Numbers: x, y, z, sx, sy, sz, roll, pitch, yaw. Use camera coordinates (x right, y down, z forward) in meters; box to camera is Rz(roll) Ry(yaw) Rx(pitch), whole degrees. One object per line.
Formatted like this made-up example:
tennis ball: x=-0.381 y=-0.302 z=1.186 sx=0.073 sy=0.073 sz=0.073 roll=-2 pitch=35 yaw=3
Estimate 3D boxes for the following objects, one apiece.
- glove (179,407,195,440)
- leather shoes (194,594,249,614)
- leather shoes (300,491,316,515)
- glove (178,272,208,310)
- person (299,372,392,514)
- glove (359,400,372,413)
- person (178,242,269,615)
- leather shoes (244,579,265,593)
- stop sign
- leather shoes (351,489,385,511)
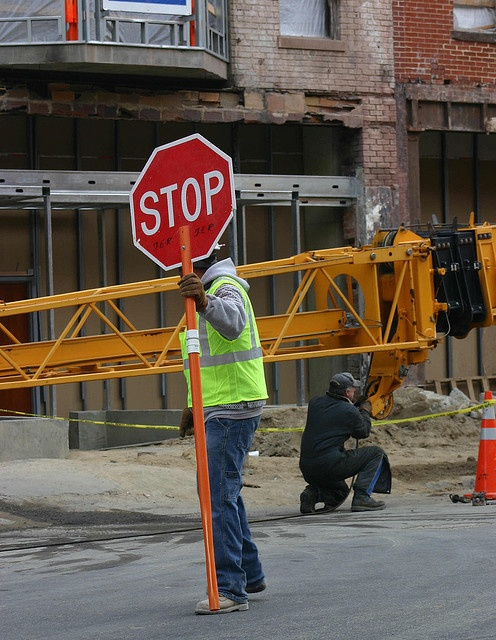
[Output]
glove: x=-0.411 y=0.735 z=10.501 sx=0.083 sy=0.285 sz=0.076 roll=2 pitch=12 yaw=-40
leather shoes: x=-0.151 y=1.814 z=9.831 sx=0.301 sy=0.145 sz=0.122 roll=7 pitch=-14 yaw=-16
leather shoes: x=0.536 y=1.598 z=13.629 sx=0.084 sy=0.240 sz=0.105 roll=-8 pitch=-13 yaw=41
glove: x=-0.329 y=-0.182 z=9.700 sx=0.162 sy=0.219 sz=0.092 roll=-28 pitch=3 yaw=-33
person: x=0.870 y=1.088 z=13.783 sx=0.773 sy=1.259 sz=0.811 roll=-3 pitch=-3 yaw=37
glove: x=1.078 y=0.802 z=13.946 sx=0.110 sy=0.099 sz=0.083 roll=47 pitch=-38 yaw=-21
person: x=-0.160 y=0.694 z=10.000 sx=0.687 sy=2.106 sz=0.461 roll=-1 pitch=0 yaw=-28
leather shoes: x=0.061 y=1.742 z=10.154 sx=0.166 sy=0.085 sz=0.058 roll=-14 pitch=-12 yaw=29
stop sign: x=-0.425 y=-0.750 z=9.982 sx=0.666 sy=0.764 sz=0.130 roll=-1 pitch=0 yaw=24
leather shoes: x=1.039 y=1.599 z=13.589 sx=0.326 sy=0.239 sz=0.125 roll=-2 pitch=-6 yaw=-14
